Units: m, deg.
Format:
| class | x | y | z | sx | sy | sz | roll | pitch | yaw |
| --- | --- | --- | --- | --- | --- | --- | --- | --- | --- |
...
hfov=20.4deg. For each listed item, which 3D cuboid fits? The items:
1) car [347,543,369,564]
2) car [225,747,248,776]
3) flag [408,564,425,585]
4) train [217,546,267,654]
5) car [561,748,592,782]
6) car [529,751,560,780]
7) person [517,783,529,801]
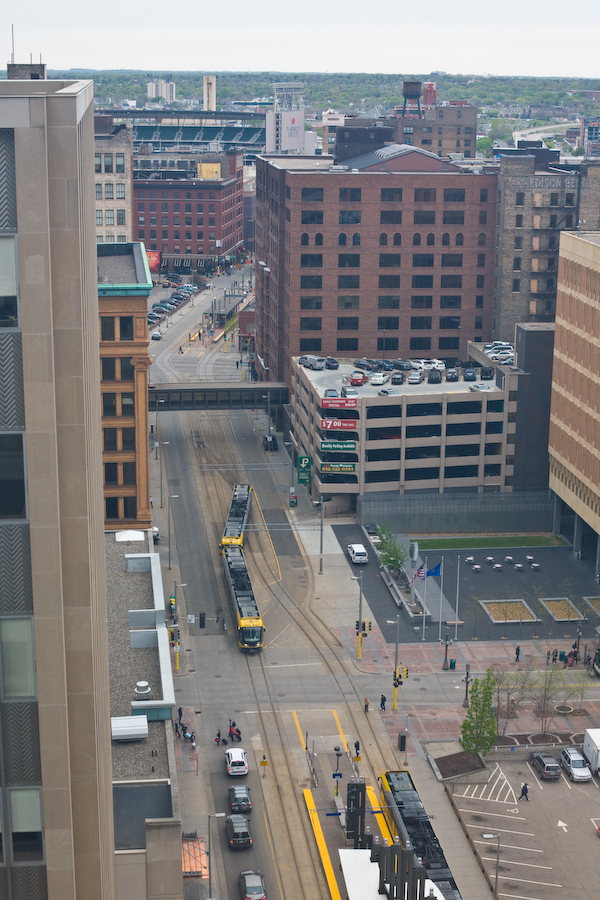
| class | x | y | z | sx | sy | sz | roll | pitch | yaw |
| --- | --- | --- | --- | --- | --- | --- | --- | --- | --- |
| car | 5.619 | 10.142 | 157.377 | 1.035 | 0.961 | 2.461 | 0 | 22 | -5 |
| car | -4.135 | 20.781 | 110.660 | 1.522 | 1.337 | 2.908 | 5 | 8 | -5 |
| flag | 10.353 | 10.985 | 145.568 | 1.052 | 2.219 | 1.396 | 3 | -29 | -3 |
| train | -4.432 | 12.453 | 139.548 | 1.944 | 2.428 | 11.170 | -1 | 26 | -6 |
| car | 18.604 | 21.053 | 110.457 | 1.028 | 0.975 | 2.301 | -3 | 11 | -2 |
| car | 16.561 | 21.067 | 110.510 | 0.938 | 0.981 | 2.193 | 1 | 21 | -3 |
| person | 14.555 | 21.805 | 106.698 | 0.537 | 0.932 | 1.895 | 6 | 8 | 8 |
